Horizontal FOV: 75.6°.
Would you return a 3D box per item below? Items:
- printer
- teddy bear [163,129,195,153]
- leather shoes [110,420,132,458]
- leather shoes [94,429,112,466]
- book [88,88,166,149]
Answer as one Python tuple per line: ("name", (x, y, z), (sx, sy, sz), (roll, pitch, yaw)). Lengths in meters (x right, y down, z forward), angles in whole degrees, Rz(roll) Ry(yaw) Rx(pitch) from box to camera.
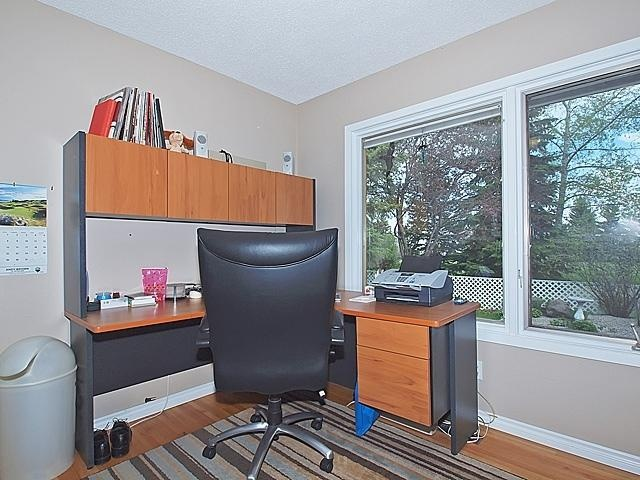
("printer", (0.693, 0.289, 3.083), (0.477, 0.308, 0.483), (-1, 6, 38))
("teddy bear", (-1.091, -0.757, 3.205), (0.255, 0.085, 0.183), (22, 33, 38))
("leather shoes", (-1.362, 1.336, 2.801), (0.142, 0.219, 0.233), (-2, 12, -38))
("leather shoes", (-1.436, 1.346, 2.718), (0.101, 0.153, 0.193), (-6, 12, -29))
("book", (-1.334, -0.869, 2.929), (0.119, 0.396, 0.429), (11, 15, 42))
